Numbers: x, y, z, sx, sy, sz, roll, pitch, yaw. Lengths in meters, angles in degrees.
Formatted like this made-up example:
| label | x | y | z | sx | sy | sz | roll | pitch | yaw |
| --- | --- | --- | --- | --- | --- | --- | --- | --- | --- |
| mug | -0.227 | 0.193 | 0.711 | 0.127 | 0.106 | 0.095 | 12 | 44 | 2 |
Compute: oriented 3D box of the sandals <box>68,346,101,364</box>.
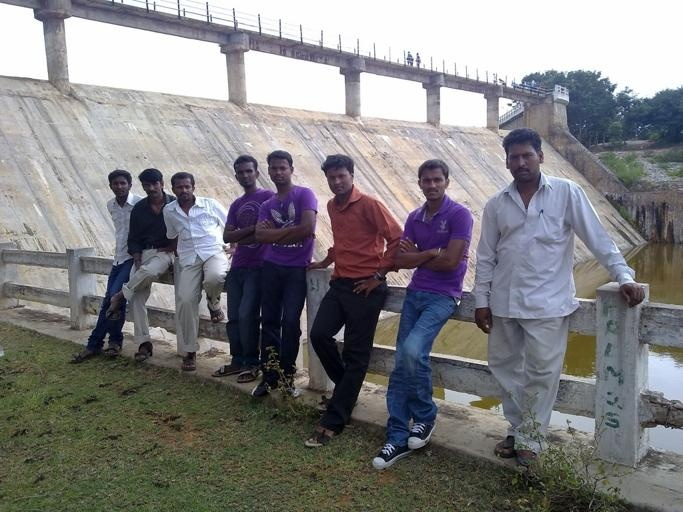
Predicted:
| label | x | y | z | sx | sy | sz | roll | pitch | yaw |
| --- | --- | --- | --- | --- | --- | --- | --- | --- | --- |
| sandals | -3.131 | 1.211 | 6.893 | 0.110 | 0.154 | 0.365 | -13 | -18 | 32 |

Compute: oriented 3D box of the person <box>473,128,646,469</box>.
| label | x | y | z | sx | sy | sz | roll | pitch | yaw |
| --- | --- | --- | --- | --- | --- | --- | --- | --- | --- |
| person | 1.688 | 0.326 | 4.739 | 1.105 | 2.749 | 0.410 | 2 | 3 | 9 |

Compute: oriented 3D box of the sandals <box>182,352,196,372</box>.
| label | x | y | z | sx | sy | sz | roll | pitch | yaw |
| --- | --- | --- | --- | --- | --- | --- | --- | --- | --- |
| sandals | -1.763 | 1.220 | 6.543 | 0.145 | 0.169 | 0.426 | 2 | -10 | -18 |

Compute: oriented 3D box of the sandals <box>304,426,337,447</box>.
| label | x | y | z | sx | sy | sz | roll | pitch | yaw |
| --- | --- | --- | --- | --- | --- | --- | --- | --- | --- |
| sandals | -0.201 | 1.629 | 5.133 | 0.240 | 0.093 | 0.122 | 4 | -1 | -44 |

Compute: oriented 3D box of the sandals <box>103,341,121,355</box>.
| label | x | y | z | sx | sy | sz | roll | pitch | yaw |
| --- | --- | --- | --- | --- | --- | --- | --- | --- | --- |
| sandals | -2.859 | 1.140 | 7.057 | 0.143 | 0.132 | 0.366 | 1 | -5 | -23 |

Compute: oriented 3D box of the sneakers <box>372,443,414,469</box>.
| label | x | y | z | sx | sy | sz | roll | pitch | yaw |
| --- | --- | --- | --- | --- | --- | --- | --- | --- | --- |
| sneakers | 0.454 | 1.706 | 4.878 | 0.385 | 0.171 | 0.125 | -3 | 0 | -36 |

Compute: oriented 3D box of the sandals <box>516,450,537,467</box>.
| label | x | y | z | sx | sy | sz | roll | pitch | yaw |
| --- | --- | --- | --- | --- | --- | --- | --- | --- | --- |
| sandals | 1.515 | 1.647 | 4.608 | 0.067 | 0.093 | 0.195 | -1 | 3 | -13 |

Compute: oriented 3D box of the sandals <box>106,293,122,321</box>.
| label | x | y | z | sx | sy | sz | roll | pitch | yaw |
| --- | --- | --- | --- | --- | --- | --- | --- | --- | --- |
| sandals | -2.724 | 0.599 | 6.844 | 0.107 | 0.312 | 0.222 | 11 | -1 | 9 |

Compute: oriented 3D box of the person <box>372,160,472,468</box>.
| label | x | y | z | sx | sy | sz | roll | pitch | yaw |
| --- | --- | --- | --- | --- | --- | --- | --- | --- | --- |
| person | 0.718 | 0.449 | 5.106 | 0.885 | 2.670 | 0.497 | 0 | 3 | -21 |

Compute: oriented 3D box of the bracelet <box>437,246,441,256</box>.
| label | x | y | z | sx | sy | sz | roll | pitch | yaw |
| --- | --- | --- | --- | --- | --- | --- | --- | --- | --- |
| bracelet | 0.871 | -0.044 | 5.023 | 0.021 | 0.053 | 0.046 | 11 | -2 | -6 |

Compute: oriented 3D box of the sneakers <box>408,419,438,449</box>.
| label | x | y | z | sx | sy | sz | roll | pitch | yaw |
| --- | --- | --- | --- | --- | --- | --- | --- | --- | --- |
| sneakers | 0.736 | 1.581 | 5.056 | 0.131 | 0.232 | 0.405 | 3 | 3 | 38 |

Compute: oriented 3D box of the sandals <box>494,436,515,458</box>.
| label | x | y | z | sx | sy | sz | roll | pitch | yaw |
| --- | --- | --- | --- | --- | --- | --- | --- | --- | --- |
| sandals | 1.398 | 1.627 | 4.821 | 0.216 | 0.090 | 0.100 | 4 | -4 | -35 |
